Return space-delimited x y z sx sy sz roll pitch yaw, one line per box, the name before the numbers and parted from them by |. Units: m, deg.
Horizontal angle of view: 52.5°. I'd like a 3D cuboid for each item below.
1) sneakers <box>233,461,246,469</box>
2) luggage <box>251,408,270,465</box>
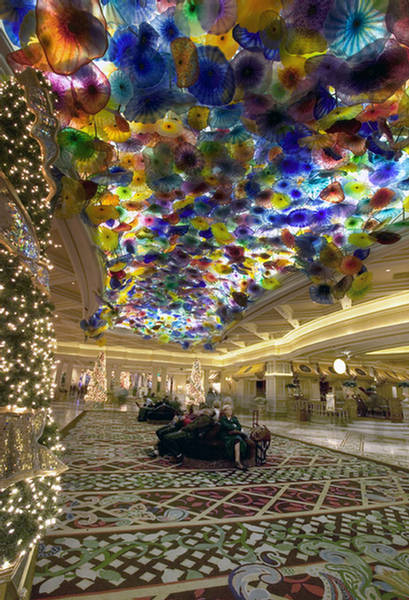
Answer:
sneakers | 0.573 2.758 6.850 0.080 0.099 0.275 6 -30 -15
luggage | 0.970 2.407 7.380 0.313 0.914 0.317 1 -14 -10
